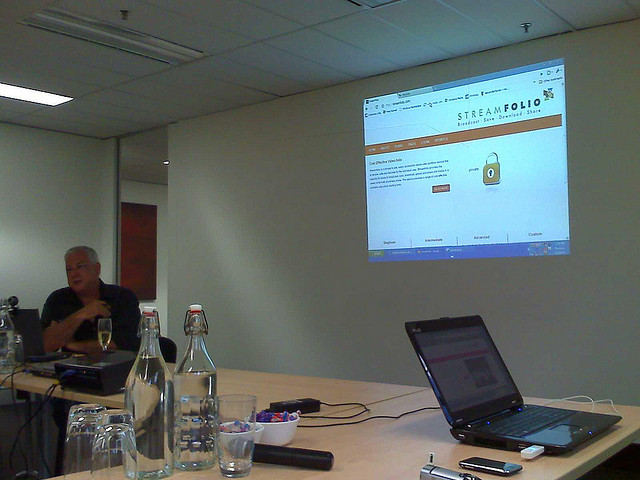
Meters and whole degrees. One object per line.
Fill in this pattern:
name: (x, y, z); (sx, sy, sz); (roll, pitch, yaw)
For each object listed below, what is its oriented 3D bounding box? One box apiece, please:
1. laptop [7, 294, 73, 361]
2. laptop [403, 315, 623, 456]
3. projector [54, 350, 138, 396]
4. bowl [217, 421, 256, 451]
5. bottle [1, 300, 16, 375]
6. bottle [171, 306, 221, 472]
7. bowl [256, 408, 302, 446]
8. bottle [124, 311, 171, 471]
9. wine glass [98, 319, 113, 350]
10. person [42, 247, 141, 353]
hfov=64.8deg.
laptop: (-1.477, 0.470, 2.723); (0.295, 0.279, 0.398); (-4, -4, -18)
laptop: (0.578, 0.389, 1.438); (0.495, 0.288, 0.506); (-4, -7, 34)
projector: (-0.867, 0.523, 2.045); (0.258, 0.076, 0.238); (-5, -2, 27)
bowl: (-0.179, 0.453, 1.125); (0.061, 0.032, 0.062); (4, -5, 0)
bottle: (-1.534, 0.473, 2.477); (0.061, 0.345, 0.137); (0, -1, -31)
bottle: (-0.303, 0.358, 1.213); (0.110, 0.399, 0.178); (-1, -1, -16)
bowl: (-0.115, 0.525, 1.438); (0.129, 0.070, 0.129); (7, -11, 2)
bottle: (-0.381, 0.338, 1.117); (0.100, 0.357, 0.199); (-1, -1, -19)
wine glass: (-1.072, 0.469, 2.515); (0.054, 0.158, 0.124); (-1, -1, -18)
person: (-1.655, 0.411, 3.577); (0.509, 0.817, 0.448); (-7, -27, -3)
